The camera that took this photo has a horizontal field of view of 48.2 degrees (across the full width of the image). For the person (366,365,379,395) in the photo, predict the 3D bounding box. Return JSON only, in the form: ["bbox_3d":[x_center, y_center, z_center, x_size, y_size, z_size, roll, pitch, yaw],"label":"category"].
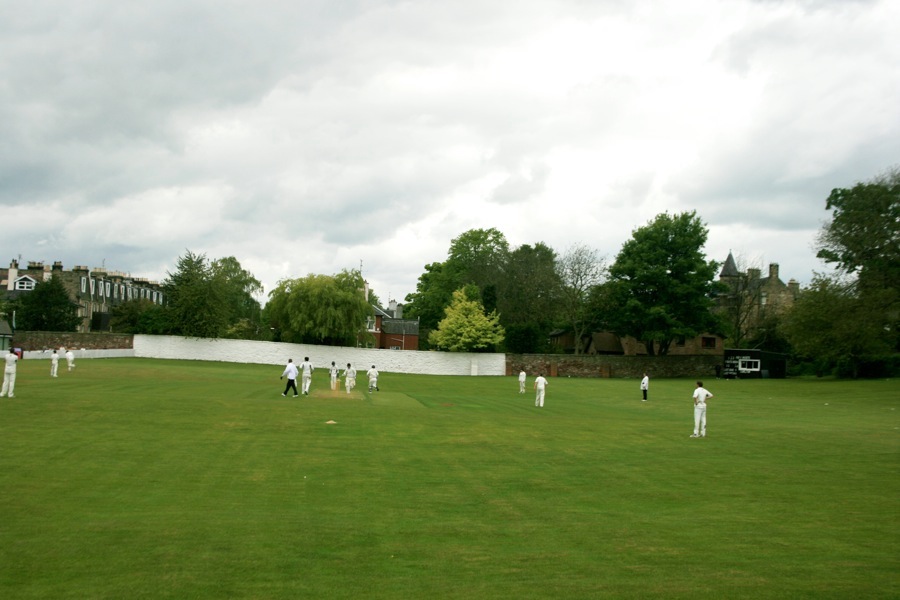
[{"bbox_3d":[-4.985,5.176,64.721,1.124,1.336,2.089,3,-35,-7],"label":"person"}]
